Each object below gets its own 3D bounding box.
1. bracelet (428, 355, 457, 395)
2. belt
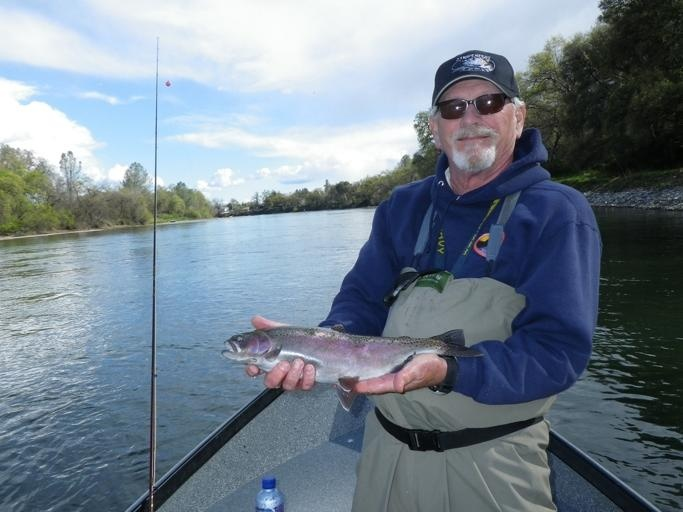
[{"bbox_3d":[0.527,0.625,2.424,0.147,0.194,0.060,-3,11,5],"label":"bracelet"},{"bbox_3d":[0.607,0.941,2.533,0.888,0.154,0.222,-1,11,15],"label":"belt"}]
